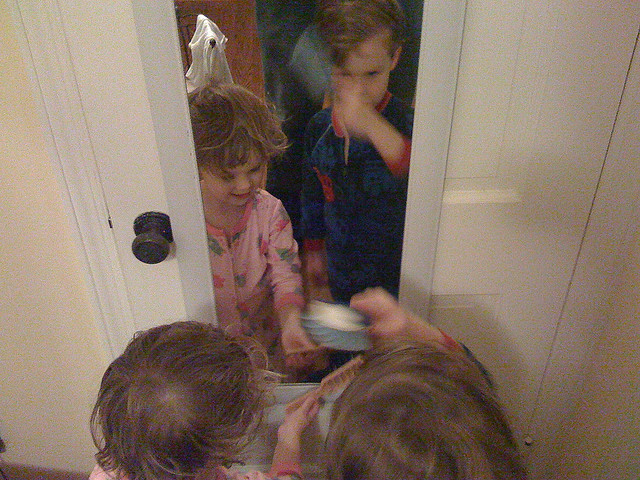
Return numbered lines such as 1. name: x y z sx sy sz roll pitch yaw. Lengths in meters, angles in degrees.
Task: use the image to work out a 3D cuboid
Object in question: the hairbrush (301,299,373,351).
1. hairbrush: 0.042 0.182 1.148 0.140 0.064 0.159 4 24 2
